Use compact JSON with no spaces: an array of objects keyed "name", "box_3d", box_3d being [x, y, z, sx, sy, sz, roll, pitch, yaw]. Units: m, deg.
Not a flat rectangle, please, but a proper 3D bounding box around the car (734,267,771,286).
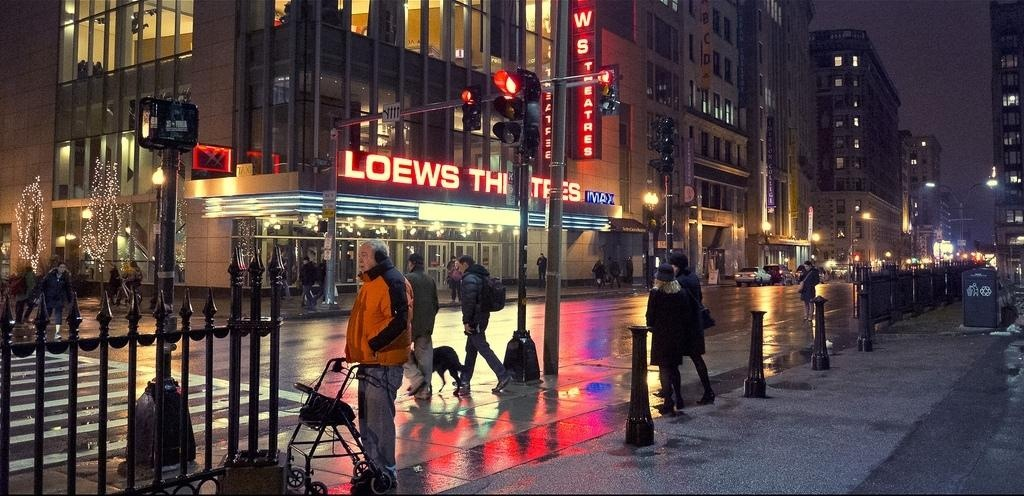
[{"name":"car","box_3d":[22.627,2.725,84.519,3.682,1.647,1.583,0,-4,-40]}]
